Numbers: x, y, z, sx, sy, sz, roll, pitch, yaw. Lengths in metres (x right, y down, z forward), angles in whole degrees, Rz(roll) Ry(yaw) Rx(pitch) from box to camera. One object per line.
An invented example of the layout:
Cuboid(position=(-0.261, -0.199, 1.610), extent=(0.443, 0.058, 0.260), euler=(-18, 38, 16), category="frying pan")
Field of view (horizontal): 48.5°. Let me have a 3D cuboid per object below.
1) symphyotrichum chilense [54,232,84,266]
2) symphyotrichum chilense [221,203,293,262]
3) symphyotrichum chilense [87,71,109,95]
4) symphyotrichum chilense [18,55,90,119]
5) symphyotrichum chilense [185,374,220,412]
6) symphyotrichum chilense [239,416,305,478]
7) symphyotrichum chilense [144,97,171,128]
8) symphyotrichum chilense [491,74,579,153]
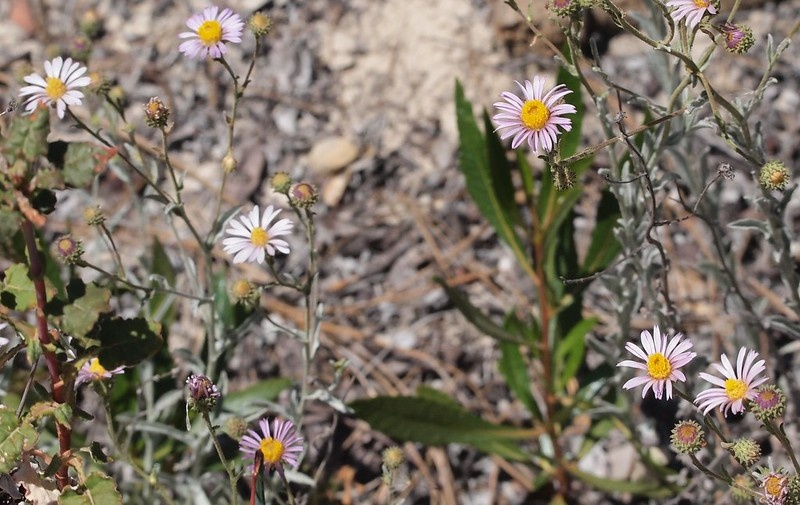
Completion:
Cuboid(position=(-1.076, -0.005, 2.888), extent=(0.075, 0.101, 0.107), euler=(-14, 46, -24), category="symphyotrichum chilense")
Cuboid(position=(-0.465, -0.058, 2.903), extent=(0.197, 0.249, 0.057), euler=(-9, 59, 4), category="symphyotrichum chilense")
Cuboid(position=(-1.023, -0.564, 3.001), extent=(0.069, 0.030, 0.082), euler=(-19, 63, 3), category="symphyotrichum chilense")
Cuboid(position=(-1.090, -0.519, 2.815), extent=(0.192, 0.065, 0.199), euler=(-18, -9, 19), category="symphyotrichum chilense")
Cuboid(position=(-0.608, 0.438, 2.722), extent=(0.086, 0.130, 0.098), euler=(-3, 20, -14), category="symphyotrichum chilense")
Cuboid(position=(-0.421, 0.622, 2.841), extent=(0.200, 0.090, 0.213), euler=(18, 33, 40), category="symphyotrichum chilense")
Cuboid(position=(-0.786, -0.444, 2.856), extent=(0.069, 0.106, 0.133), euler=(-7, 44, -18), category="symphyotrichum chilense")
Cuboid(position=(0.425, -0.437, 2.792), extent=(0.259, 0.277, 0.063), euler=(15, 61, -25), category="symphyotrichum chilense")
